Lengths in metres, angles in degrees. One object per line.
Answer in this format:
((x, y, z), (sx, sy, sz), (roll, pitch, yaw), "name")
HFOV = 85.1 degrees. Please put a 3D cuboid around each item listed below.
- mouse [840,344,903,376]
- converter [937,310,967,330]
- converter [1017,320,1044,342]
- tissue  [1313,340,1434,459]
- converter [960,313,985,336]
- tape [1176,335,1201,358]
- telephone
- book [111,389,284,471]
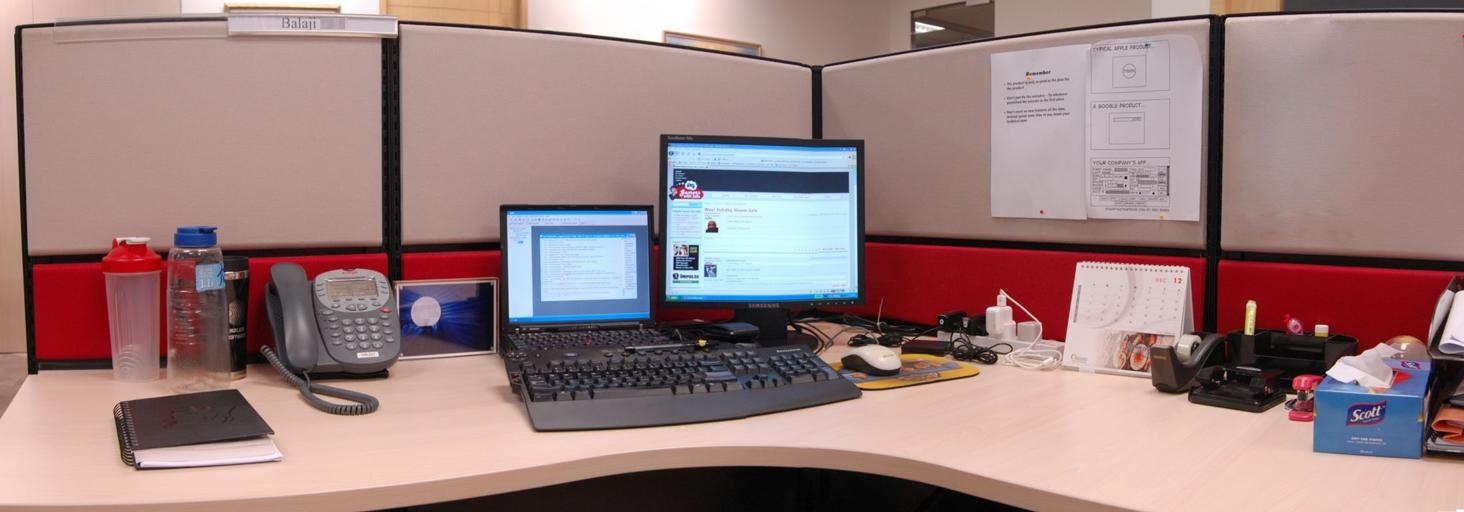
((0.636, 0.456, 3.599), (0.194, 0.072, 0.290), (-10, 11, -35), "mouse")
((1.029, 0.293, 3.744), (0.153, 0.049, 0.111), (-4, 8, -44), "converter")
((1.379, 0.352, 3.726), (0.126, 0.073, 0.114), (-2, 3, -36), "converter")
((2.575, 0.588, 3.199), (0.463, 0.398, 0.237), (-1, 7, 14), "tissue ")
((1.144, 0.320, 3.739), (0.126, 0.052, 0.123), (-12, 14, -42), "converter")
((1.972, 0.391, 3.425), (0.116, 0.078, 0.058), (-10, 18, -42), "tape")
((-1.736, 0.277, 3.604), (0.615, 0.520, 0.496), (5, 3, 42), "telephone")
((-2.158, 0.695, 3.190), (0.497, 0.071, 0.393), (-3, 20, -23), "book")
